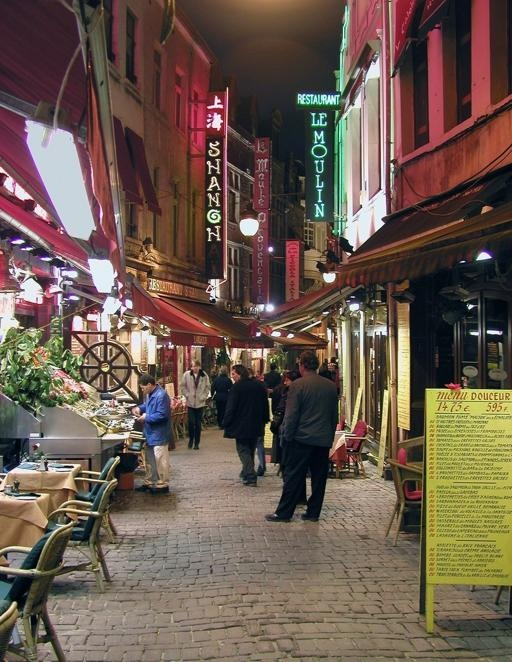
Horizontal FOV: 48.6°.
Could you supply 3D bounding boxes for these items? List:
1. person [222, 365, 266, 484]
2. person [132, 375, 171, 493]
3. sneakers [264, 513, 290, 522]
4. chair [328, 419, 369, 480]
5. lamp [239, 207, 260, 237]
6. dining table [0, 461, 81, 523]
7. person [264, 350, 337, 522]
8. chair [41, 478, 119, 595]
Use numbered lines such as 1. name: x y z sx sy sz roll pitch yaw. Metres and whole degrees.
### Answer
1. person: -0.191 1.731 10.599 0.810 2.244 0.923 0 -7 7
2. person: -1.721 1.728 9.574 0.494 1.906 0.700 2 -7 -6
3. sneakers: 0.274 2.477 7.594 0.311 0.145 0.125 7 -6 5
4. chair: 1.970 2.412 11.653 1.030 1.309 1.036 1 -4 -6
5. lamp: -0.214 -3.457 17.337 0.502 0.815 0.994 1 -8 -4
6. dining table: -2.198 1.624 6.042 0.692 0.348 0.628 0 -7 5
7. person: 0.649 1.419 7.618 0.840 2.257 0.593 2 -6 -5
8. chair: -1.591 1.816 5.006 0.596 0.830 0.556 -3 -13 0
